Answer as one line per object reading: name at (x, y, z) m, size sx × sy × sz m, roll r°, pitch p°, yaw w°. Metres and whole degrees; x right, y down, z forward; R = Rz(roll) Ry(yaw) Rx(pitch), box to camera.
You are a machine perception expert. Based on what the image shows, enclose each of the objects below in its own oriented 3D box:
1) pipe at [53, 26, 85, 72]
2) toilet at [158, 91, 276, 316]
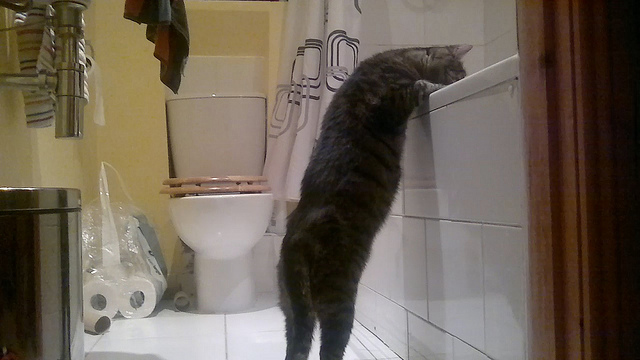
pipe at (-0.876, -0.469, 2.419) m, size 0.106 × 0.178 × 0.112 m, roll 5°, pitch 9°, yaw 16°
toilet at (-0.489, 0.072, 3.205) m, size 0.533 × 1.106 × 0.553 m, roll 3°, pitch -3°, yaw -15°
